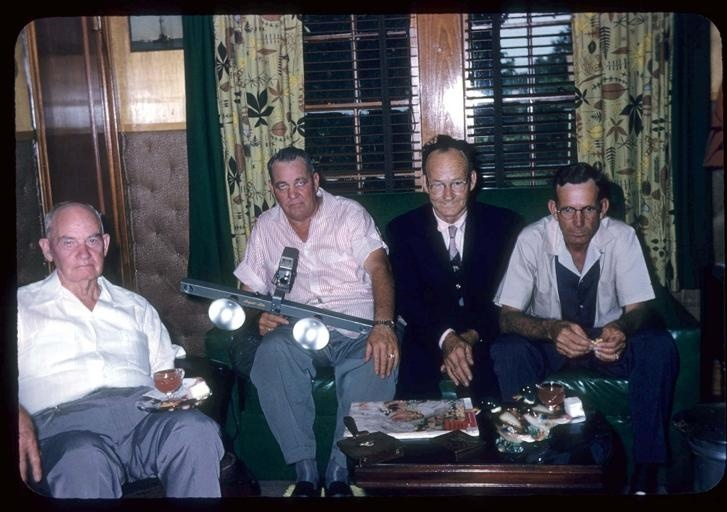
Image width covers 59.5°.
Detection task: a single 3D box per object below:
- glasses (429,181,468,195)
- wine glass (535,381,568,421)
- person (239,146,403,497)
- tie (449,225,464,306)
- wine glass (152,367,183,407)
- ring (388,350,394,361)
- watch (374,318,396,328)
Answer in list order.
[{"bbox_3d":[0.472,-0.376,3.498,0.215,0.085,0.064,-2,4,0],"label":"glasses"},{"bbox_3d":[0.798,0.620,2.705,0.133,0.126,0.135,-4,-1,3],"label":"wine glass"},{"bbox_3d":[-0.222,0.290,3.286,0.834,1.746,0.965,-3,4,-12],"label":"person"},{"bbox_3d":[0.519,0.049,3.534,0.064,0.454,0.049,-1,-19,0],"label":"tie"},{"bbox_3d":[-0.849,0.567,2.795,0.114,0.148,0.091,-3,4,-7],"label":"wine glass"},{"bbox_3d":[0.138,0.487,3.085,0.036,0.034,0.036,0,-8,0],"label":"ring"},{"bbox_3d":[0.104,0.339,3.166,0.105,0.043,0.070,-2,4,-1],"label":"watch"}]
